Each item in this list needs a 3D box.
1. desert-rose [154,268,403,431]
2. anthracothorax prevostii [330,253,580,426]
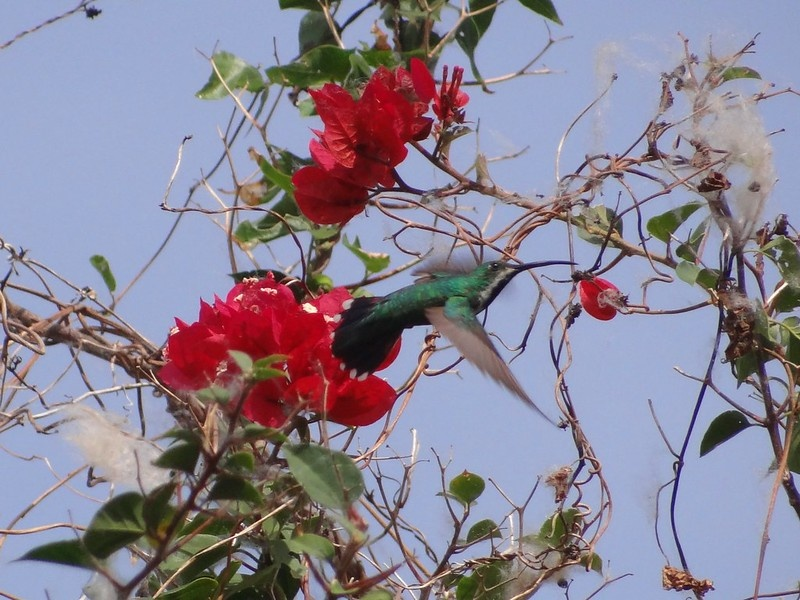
[{"bbox_3d":[-0.182,0.081,2.058,0.251,0.143,0.248,3,-6,6],"label":"desert-rose"},{"bbox_3d":[0.068,0.019,2.219,0.346,0.398,0.178,5,-63,-21],"label":"anthracothorax prevostii"}]
